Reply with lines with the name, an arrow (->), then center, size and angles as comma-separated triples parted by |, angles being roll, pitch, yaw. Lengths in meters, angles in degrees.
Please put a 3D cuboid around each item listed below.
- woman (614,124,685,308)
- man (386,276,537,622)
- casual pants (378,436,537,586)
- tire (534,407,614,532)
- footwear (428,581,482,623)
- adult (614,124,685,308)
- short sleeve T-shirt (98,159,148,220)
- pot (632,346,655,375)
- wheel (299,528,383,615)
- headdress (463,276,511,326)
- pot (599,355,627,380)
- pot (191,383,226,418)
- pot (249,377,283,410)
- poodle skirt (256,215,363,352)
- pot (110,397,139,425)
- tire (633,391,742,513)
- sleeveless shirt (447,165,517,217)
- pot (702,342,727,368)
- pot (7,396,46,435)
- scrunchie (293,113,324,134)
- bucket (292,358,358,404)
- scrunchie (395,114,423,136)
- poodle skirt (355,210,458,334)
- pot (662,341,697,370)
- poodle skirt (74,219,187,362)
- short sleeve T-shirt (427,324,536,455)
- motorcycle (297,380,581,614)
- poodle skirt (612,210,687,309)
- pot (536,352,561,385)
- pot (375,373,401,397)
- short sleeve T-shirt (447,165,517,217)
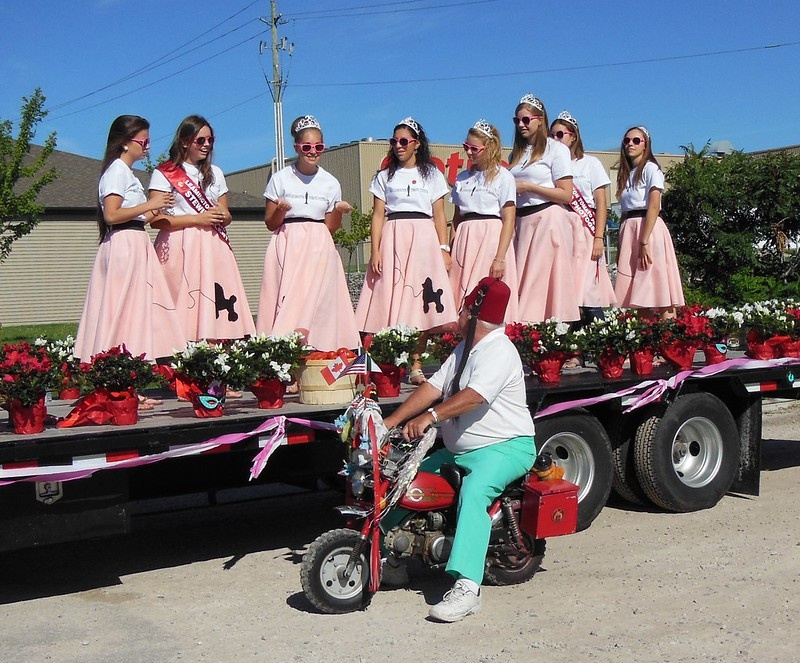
woman -> 2.507, -1.153, 8.270 | 0.668, 1.823, 0.423 | -1, 3, 15
man -> 0.337, 0.631, 4.756 | 0.889, 1.774, 0.903 | 0, -3, -25
casual pants -> 0.348, 0.966, 4.606 | 0.531, 0.687, 0.808 | 1, 3, 40
tire -> 1.152, 0.931, 5.482 | 0.741, 0.782, 0.257 | 12, -14, -40
footwear -> 0.309, 1.410, 4.309 | 0.132, 0.178, 0.341 | 3, 3, 43
adult -> 2.507, -1.153, 8.270 | 0.668, 1.823, 0.423 | -1, 3, 15
short sleeve T-shirt -> -2.021, -1.035, 6.002 | 0.338, 0.532, 0.643 | 0, 8, -3
pot -> 1.946, 0.241, 6.618 | 0.205, 0.230, 0.200 | -1, 2, 0
wheel -> -0.306, 1.285, 4.299 | 0.422, 0.450, 0.126 | 7, -1, -28
headdress -> 0.451, -0.141, 4.718 | 0.301, 0.254, 0.242 | 12, -12, 19
pot -> 1.647, 0.284, 6.307 | 0.177, 0.146, 0.183 | -2, -2, 0
pot -> -1.137, 0.406, 4.806 | 0.194, 0.165, 0.168 | -7, -7, 43
pot -> -0.843, 0.403, 5.215 | 0.193, 0.146, 0.187 | -1, -11, 0
poodle skirt -> -0.758, -0.298, 6.700 | 1.028, 1.183, 0.906 | 0, -5, -6
pot -> -1.544, 0.448, 4.606 | 0.147, 0.142, 0.152 | -5, 3, 0
tire -> 2.184, 0.948, 6.306 | 0.870, 0.930, 0.315 | -2, 2, -26
sleeveless shirt -> 0.711, -1.220, 7.154 | 0.662, 0.529, 0.336 | 4, 2, 38
pot -> 2.643, 0.196, 6.842 | 0.187, 0.206, 0.184 | 1, -3, 0
pot -> -2.037, 0.453, 4.425 | 0.168, 0.157, 0.194 | 1, -6, -10
scrunchie -> -0.754, -1.598, 6.250 | 0.216, 0.127, 0.252 | -1, 3, 1
bucket -> -0.483, 0.338, 5.290 | 0.302, 0.202, 0.292 | -2, -3, 0
scrunchie -> 0.098, -1.688, 6.664 | 0.192, 0.128, 0.201 | -2, 3, -11
poodle skirt -> 0.113, -0.411, 6.964 | 1.024, 1.130, 0.836 | 0, 2, -34
pot -> 2.254, 0.189, 6.579 | 0.254, 0.199, 0.228 | 2, -4, -9
poodle skirt -> -1.969, -0.224, 6.020 | 1.023, 1.177, 0.863 | 1, 4, -18
short sleeve T-shirt -> 0.476, 0.405, 4.924 | 0.601, 0.860, 0.911 | 0, -1, -20
motorcycle -> 0.081, 0.900, 4.909 | 1.664, 1.246, 0.905 | 1, 3, -28
poodle skirt -> 2.606, -0.725, 8.711 | 0.793, 1.169, 0.979 | -2, 1, 23
pot -> 1.112, 0.288, 6.091 | 0.203, 0.196, 0.208 | 1, -10, 0
pot -> -0.093, 0.371, 5.596 | 0.158, 0.127, 0.154 | 0, -4, 0
short sleeve T-shirt -> 0.721, -1.210, 7.157 | 0.661, 0.518, 0.335 | 4, 1, 41
